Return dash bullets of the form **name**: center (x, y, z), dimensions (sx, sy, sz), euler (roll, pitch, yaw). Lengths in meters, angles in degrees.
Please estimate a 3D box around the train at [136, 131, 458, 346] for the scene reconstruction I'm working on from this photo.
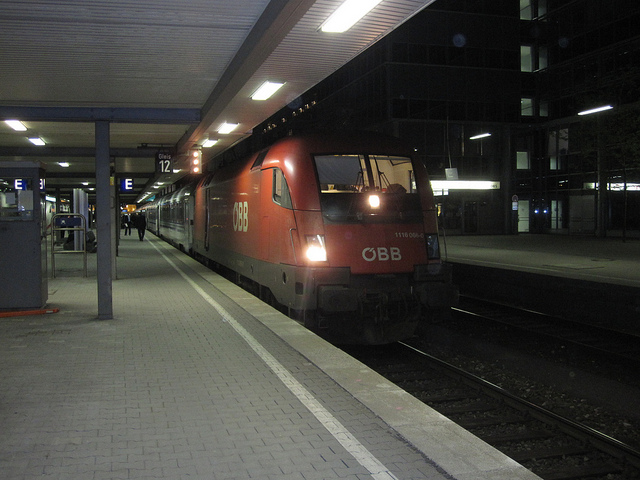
- **train**: center (-2.562, -0.560, 16.228), dimensions (2.810, 4.067, 17.057), euler (2, 1, -25)

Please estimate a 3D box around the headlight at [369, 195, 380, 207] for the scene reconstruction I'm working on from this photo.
- **headlight**: center (0.986, -0.708, 9.056), dimensions (0.186, 0.197, 0.062), euler (-1, 2, -15)
